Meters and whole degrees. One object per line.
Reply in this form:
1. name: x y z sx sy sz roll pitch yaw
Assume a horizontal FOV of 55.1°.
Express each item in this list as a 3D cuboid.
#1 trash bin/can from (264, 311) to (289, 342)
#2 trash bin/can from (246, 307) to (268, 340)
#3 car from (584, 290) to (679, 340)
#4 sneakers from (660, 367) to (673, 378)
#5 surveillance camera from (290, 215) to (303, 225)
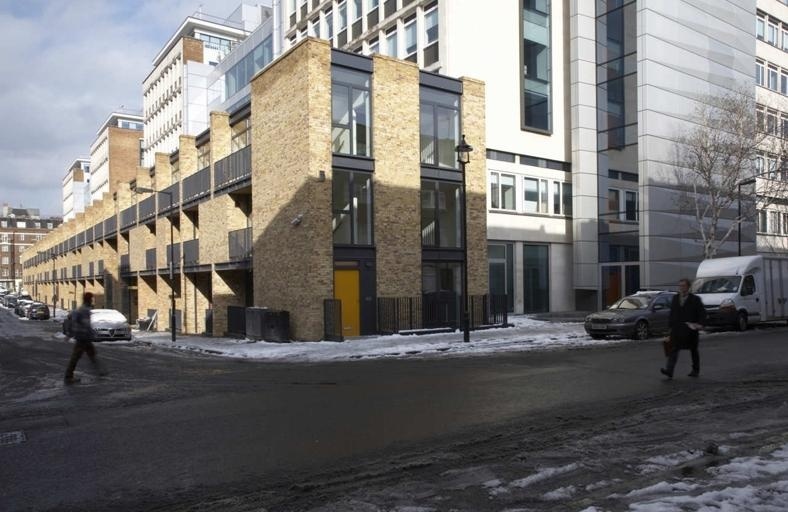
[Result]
1. trash bin/can: -5.162 3.102 33.350 0.510 1.304 1.307 0 -2 -36
2. trash bin/can: -6.234 3.046 34.487 0.763 1.334 1.313 4 -9 -28
3. car: 9.532 2.375 30.658 3.935 1.352 1.748 6 -10 -38
4. sneakers: 8.092 3.488 22.383 0.462 0.191 0.161 40 -25 -28
5. surveillance camera: -4.257 -1.601 33.067 0.240 0.235 0.473 -20 13 30
